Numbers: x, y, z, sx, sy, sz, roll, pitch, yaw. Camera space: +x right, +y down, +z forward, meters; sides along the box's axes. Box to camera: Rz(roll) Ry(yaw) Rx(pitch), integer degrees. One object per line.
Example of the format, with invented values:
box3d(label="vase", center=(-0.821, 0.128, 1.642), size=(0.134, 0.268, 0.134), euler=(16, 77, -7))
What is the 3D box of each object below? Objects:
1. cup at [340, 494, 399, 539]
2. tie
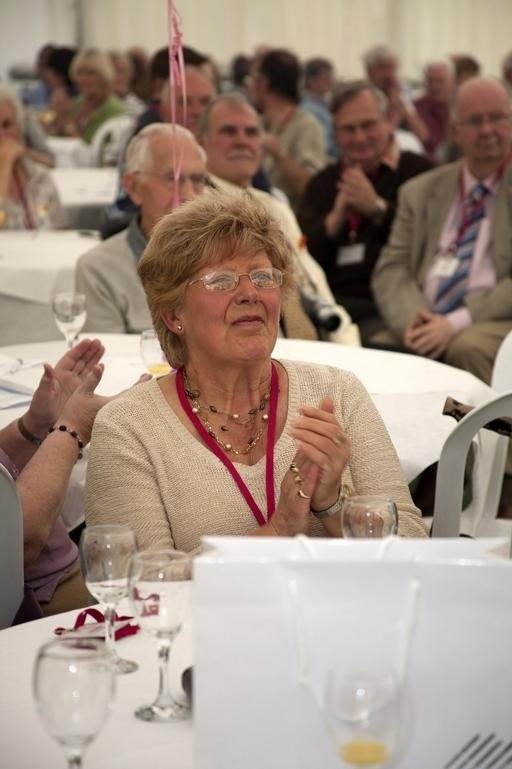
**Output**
box3d(label="cup", center=(0.142, 0.166, 0.883), size=(0.061, 0.053, 0.058), euler=(0, -9, 0))
box3d(label="tie", center=(1.018, -0.690, 3.512), size=(0.188, 0.725, 0.091), euler=(17, 23, 20))
